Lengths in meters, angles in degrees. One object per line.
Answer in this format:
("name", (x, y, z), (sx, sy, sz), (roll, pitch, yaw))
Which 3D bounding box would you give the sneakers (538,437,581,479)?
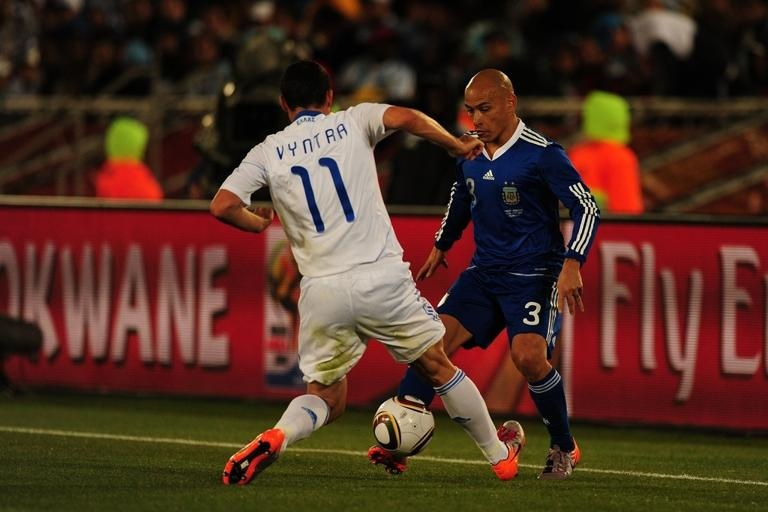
("sneakers", (1.427, 1.634, 10.175), (0.165, 0.166, 0.457), (-4, 5, 25))

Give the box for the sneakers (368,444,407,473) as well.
("sneakers", (0.018, 1.603, 9.926), (0.293, 0.181, 0.116), (35, -29, -24))
